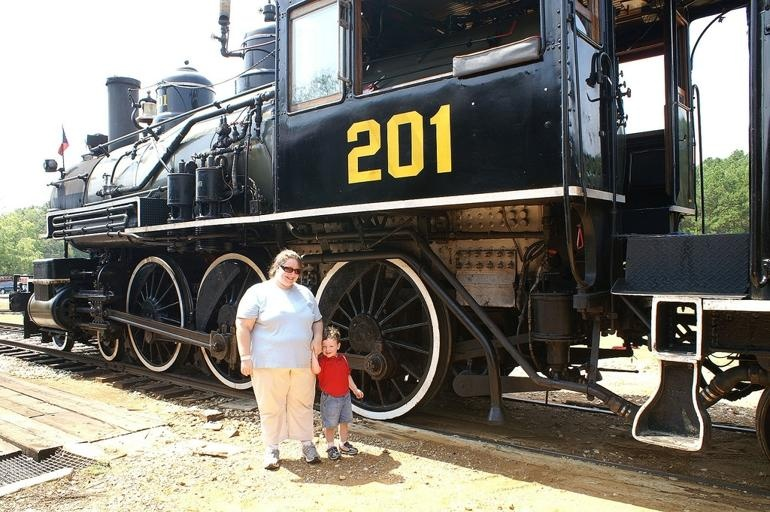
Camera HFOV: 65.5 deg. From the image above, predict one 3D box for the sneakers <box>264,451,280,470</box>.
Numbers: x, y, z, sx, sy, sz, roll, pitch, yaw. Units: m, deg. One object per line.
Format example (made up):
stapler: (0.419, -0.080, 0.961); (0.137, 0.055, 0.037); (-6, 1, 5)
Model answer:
sneakers: (-1.203, 2.141, 6.388); (0.154, 0.174, 0.235); (-2, 6, -9)

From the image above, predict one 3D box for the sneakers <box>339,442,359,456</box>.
sneakers: (-0.403, 2.125, 6.595); (0.226, 0.100, 0.104); (-10, -12, 42)

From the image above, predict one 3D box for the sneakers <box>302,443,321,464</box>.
sneakers: (-0.791, 2.124, 6.426); (0.115, 0.121, 0.268); (3, -8, -30)

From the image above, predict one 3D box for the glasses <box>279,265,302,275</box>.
glasses: (-0.997, 0.141, 6.347); (0.216, 0.113, 0.099); (-3, 6, -22)

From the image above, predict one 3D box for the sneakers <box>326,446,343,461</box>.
sneakers: (-0.551, 2.128, 6.519); (0.153, 0.131, 0.149); (-2, 6, -9)

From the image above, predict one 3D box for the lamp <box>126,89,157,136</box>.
lamp: (-4.900, -3.035, 12.399); (0.700, 0.821, 0.453); (-1, 2, -36)
